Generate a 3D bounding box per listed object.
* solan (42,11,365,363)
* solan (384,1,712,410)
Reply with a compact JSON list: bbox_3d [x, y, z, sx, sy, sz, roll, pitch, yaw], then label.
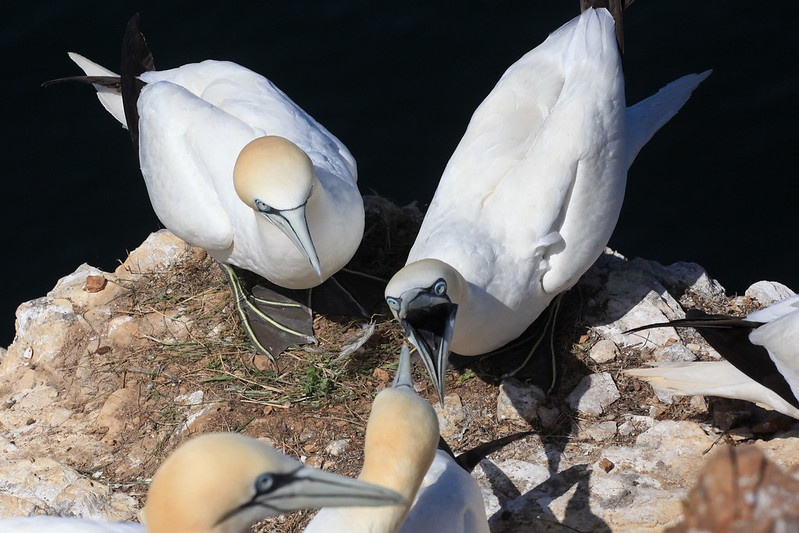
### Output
[{"bbox_3d":[-1.627,-0.946,12.647,2.559,4.313,3.232,1,2,-19],"label":"solan"},{"bbox_3d":[1.441,-0.880,12.000,1.961,4.055,3.710,17,27,25],"label":"solan"}]
